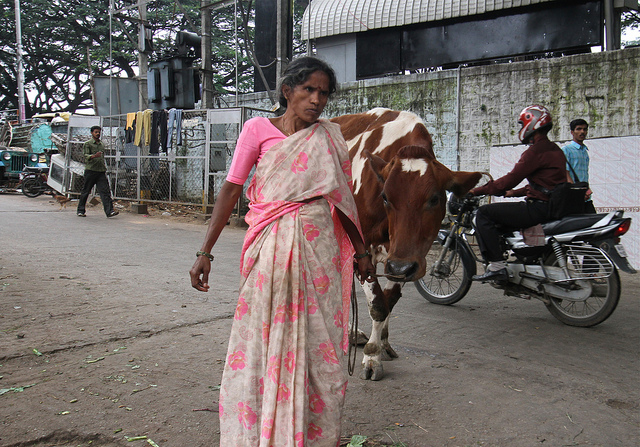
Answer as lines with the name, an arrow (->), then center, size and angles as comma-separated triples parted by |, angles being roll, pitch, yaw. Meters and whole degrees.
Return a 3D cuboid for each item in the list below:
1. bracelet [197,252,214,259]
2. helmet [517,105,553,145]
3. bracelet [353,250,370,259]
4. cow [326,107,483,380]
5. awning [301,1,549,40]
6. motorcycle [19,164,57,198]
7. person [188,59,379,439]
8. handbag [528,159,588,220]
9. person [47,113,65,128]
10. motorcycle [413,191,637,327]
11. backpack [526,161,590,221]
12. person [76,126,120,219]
bracelet -> -0.818, 0.218, 3.797 | 0.115, 0.029, 0.114 | -12, -9, -11
helmet -> 2.518, -1.194, 6.310 | 0.434, 0.443, 0.335 | 6, 12, 42
bracelet -> 0.309, 0.239, 4.053 | 0.111, 0.066, 0.100 | 3, 8, 12
cow -> 0.717, -0.008, 6.297 | 1.125, 2.369, 4.179 | 6, 10, -3
awning -> 1.935, -5.424, 13.698 | 5.237, 0.997, 0.469 | 5, 9, 28
motorcycle -> -9.586, -1.438, 18.008 | 1.410, 0.918, 0.799 | -2, 2, -17
person -> -0.252, 0.243, 3.696 | 1.129, 2.734, 0.721 | 1, 8, -2
handbag -> 2.784, -0.435, 6.387 | 0.601, 0.735, 0.779 | -4, 8, -19
person -> -11.698, -4.657, 23.790 | 0.443, 0.543, 2.053 | -3, 9, -26
motorcycle -> 2.463, 0.366, 6.956 | 2.873, 1.760, 1.429 | 4, -2, 37
backpack -> 2.792, -0.418, 6.080 | 0.472, 0.449, 0.373 | 0, 8, -11
person -> -5.531, -1.288, 13.231 | 1.139, 2.249, 0.942 | 8, 11, 41
